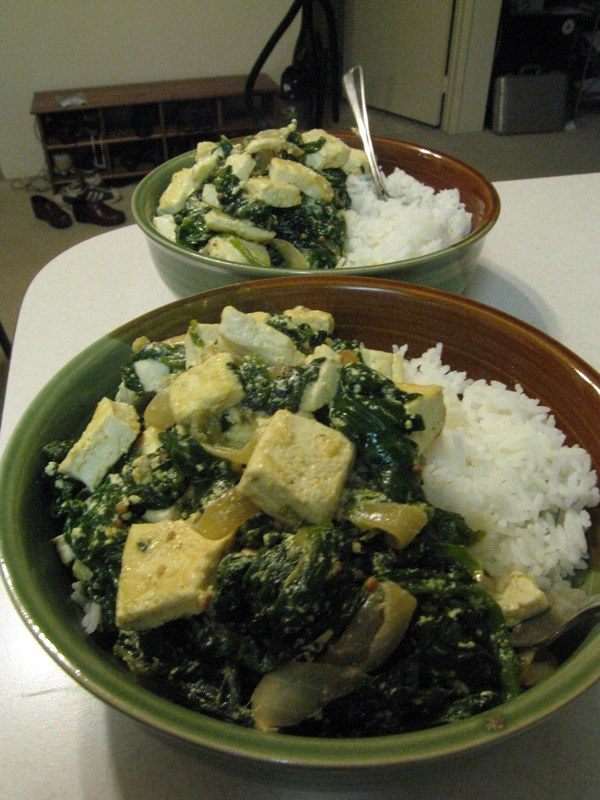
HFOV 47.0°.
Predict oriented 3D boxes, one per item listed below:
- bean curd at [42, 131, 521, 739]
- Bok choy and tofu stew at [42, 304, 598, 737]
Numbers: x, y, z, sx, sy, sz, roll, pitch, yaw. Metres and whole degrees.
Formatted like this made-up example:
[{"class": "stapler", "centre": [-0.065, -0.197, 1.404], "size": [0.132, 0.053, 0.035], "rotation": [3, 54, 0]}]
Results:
[{"class": "bean curd", "centre": [-0.043, 0.031, 0.678], "size": [0.434, 0.179, 0.452], "rotation": [-5, 50, -3]}, {"class": "Bok choy and tofu stew", "centre": [0.008, 0.132, 0.731], "size": [0.530, 0.212, 0.484], "rotation": [-3, 32, -9]}]
